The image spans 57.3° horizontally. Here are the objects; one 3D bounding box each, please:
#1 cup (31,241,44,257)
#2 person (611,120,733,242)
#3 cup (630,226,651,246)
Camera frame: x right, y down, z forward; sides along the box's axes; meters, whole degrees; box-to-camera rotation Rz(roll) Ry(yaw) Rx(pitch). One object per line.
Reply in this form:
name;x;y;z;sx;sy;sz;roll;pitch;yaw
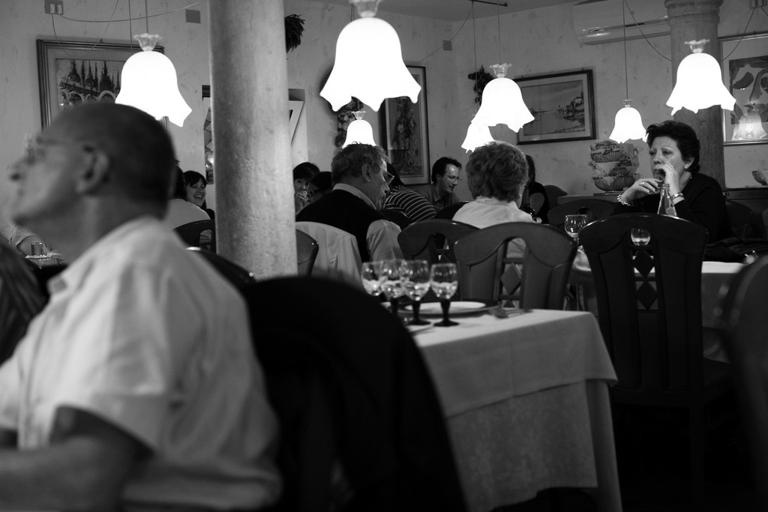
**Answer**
cup;-2.365;-0.056;4.820;0.086;0.100;0.086;1;-3;0
person;1.881;-0.393;4.661;0.634;0.914;0.647;1;3;41
cup;1.155;-0.093;3.177;0.073;0.086;0.075;1;-5;0
